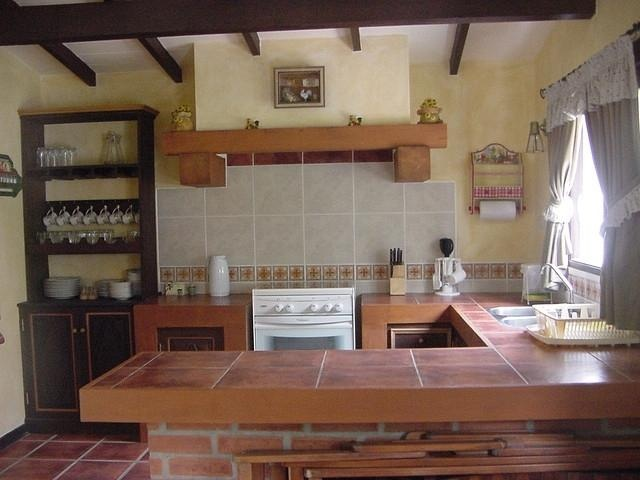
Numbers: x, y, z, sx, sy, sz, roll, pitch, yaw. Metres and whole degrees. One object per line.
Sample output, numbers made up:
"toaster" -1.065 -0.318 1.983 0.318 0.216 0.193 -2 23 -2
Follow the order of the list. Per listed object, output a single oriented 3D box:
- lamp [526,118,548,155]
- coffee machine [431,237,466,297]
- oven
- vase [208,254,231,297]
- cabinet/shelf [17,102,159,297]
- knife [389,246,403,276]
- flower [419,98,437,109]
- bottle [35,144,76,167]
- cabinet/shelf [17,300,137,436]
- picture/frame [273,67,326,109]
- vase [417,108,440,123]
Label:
"lamp" 1.681 -0.802 4.525 0.177 0.204 0.177 -13 -1 29
"coffee machine" 1.073 0.234 4.863 0.295 0.460 0.343 -7 7 -42
"oven" -0.128 0.500 4.683 0.744 0.719 0.498 -1 -3 1
"vase" -0.887 0.313 4.967 0.201 0.329 0.199 -3 1 -5
"cabinet/shelf" -1.941 -0.293 4.938 1.141 1.555 0.342 -2 1 6
"knife" 0.644 0.195 4.858 0.120 0.162 0.153 -2 1 6
"flower" 0.847 -1.060 4.492 0.104 0.100 0.142 -2 0 10
"bottle" -2.261 -0.677 4.881 0.222 0.156 0.225 1 1 0
"cabinet/shelf" -1.984 1.034 4.972 0.959 1.127 0.405 1 13 -5
"picture/frame" -0.155 -1.202 4.573 0.330 0.242 0.013 1 -3 -2
"vase" 0.842 -0.952 4.493 0.137 0.085 0.139 -2 -2 29
